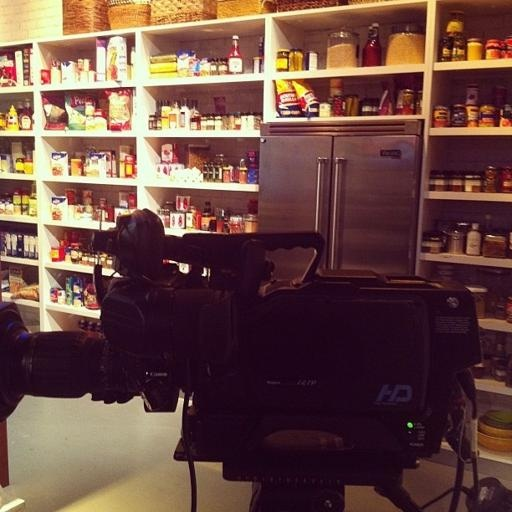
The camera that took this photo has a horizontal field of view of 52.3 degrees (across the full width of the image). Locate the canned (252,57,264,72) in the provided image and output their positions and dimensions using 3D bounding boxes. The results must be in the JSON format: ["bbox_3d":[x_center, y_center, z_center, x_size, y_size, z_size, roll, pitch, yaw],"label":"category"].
[{"bbox_3d":[0.018,-1.263,3.427,0.057,0.118,0.216,0,6,-4],"label":"canned"}]

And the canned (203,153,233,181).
[{"bbox_3d":[-0.256,-0.632,3.766,0.185,0.208,0.197,3,9,9],"label":"canned"}]

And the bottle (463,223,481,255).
[{"bbox_3d":[1.248,-0.094,2.973,0.081,0.179,0.058,3,6,25],"label":"bottle"}]

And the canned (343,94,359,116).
[{"bbox_3d":[0.596,-0.929,3.221,0.106,0.193,0.120,4,5,14],"label":"canned"}]

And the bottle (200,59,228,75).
[{"bbox_3d":[-0.281,-1.290,3.546,0.106,0.082,0.064,2,3,15],"label":"bottle"}]

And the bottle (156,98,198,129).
[{"bbox_3d":[-0.567,-1.022,3.761,0.217,0.163,0.083,3,6,25],"label":"bottle"}]

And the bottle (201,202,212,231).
[{"bbox_3d":[-0.370,-0.303,3.917,0.078,0.219,0.352,0,6,-5],"label":"bottle"}]

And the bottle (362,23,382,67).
[{"bbox_3d":[0.706,-1.277,3.142,0.100,0.319,0.254,2,6,17],"label":"bottle"}]

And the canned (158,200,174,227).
[{"bbox_3d":[-0.692,-0.323,4.015,0.118,0.198,0.264,0,6,-9],"label":"canned"}]

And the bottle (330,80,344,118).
[{"bbox_3d":[0.512,-0.980,3.222,0.107,0.228,0.087,-1,6,-21],"label":"bottle"}]
